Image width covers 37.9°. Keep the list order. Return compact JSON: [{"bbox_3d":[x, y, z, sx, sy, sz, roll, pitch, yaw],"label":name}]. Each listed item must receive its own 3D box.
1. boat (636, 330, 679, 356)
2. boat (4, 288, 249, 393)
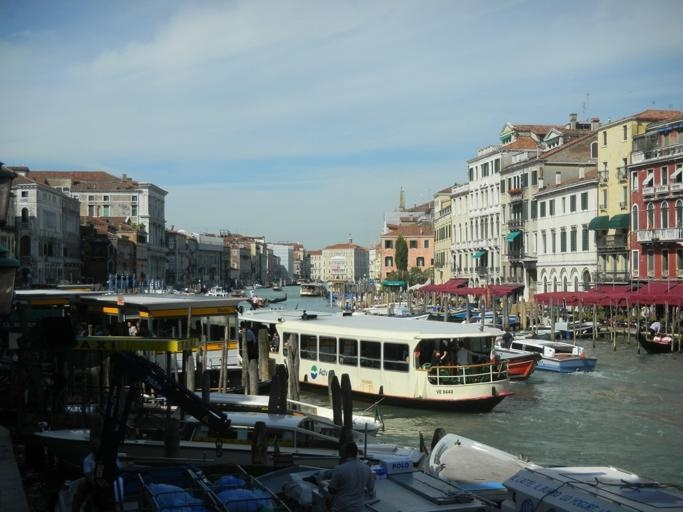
[{"bbox_3d":[16.910,4.571,52.938,2.057,1.208,2.405,-1,-4,19],"label":"boat"},{"bbox_3d":[-7.283,3.415,34.670,6.190,1.794,4.191,4,-1,30],"label":"boat"}]
